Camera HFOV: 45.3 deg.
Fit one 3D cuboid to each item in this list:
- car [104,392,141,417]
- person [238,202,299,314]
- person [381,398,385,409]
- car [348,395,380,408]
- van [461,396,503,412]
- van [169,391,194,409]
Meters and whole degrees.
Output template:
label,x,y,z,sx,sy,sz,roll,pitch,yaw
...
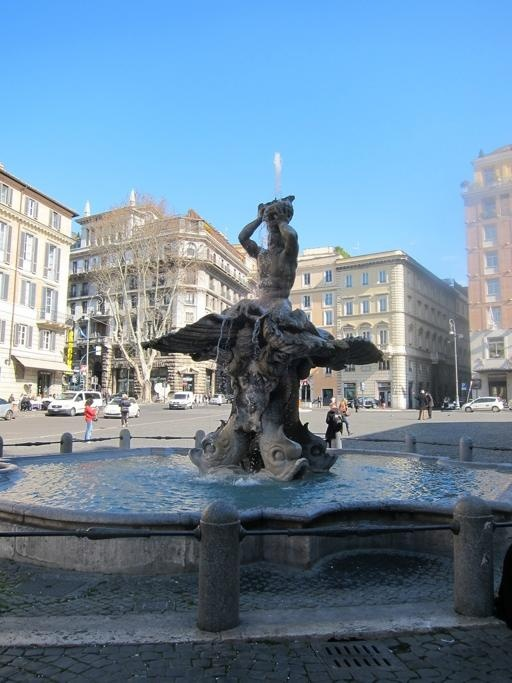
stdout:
label,x,y,z,sx,sy,sz,roll,pitch,yaw
car,-7.143,3.352,32.952,1.723,1.275,2.722,-2,-13,2
person,0.227,-1.200,8.318,0.711,1.501,1.221,0,-3,-18
person,12.328,5.991,59.190,0.490,0.744,0.741,-1,-3,8
car,10.142,5.776,57.638,2.879,1.137,1.714,0,-5,15
van,16.769,4.685,45.200,2.365,0.937,1.353,0,-8,31
van,-5.216,4.233,43.534,1.223,1.104,1.921,-2,-3,15
